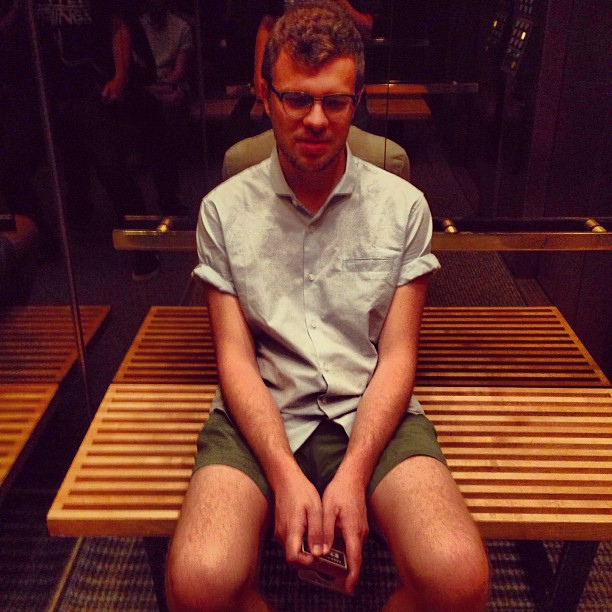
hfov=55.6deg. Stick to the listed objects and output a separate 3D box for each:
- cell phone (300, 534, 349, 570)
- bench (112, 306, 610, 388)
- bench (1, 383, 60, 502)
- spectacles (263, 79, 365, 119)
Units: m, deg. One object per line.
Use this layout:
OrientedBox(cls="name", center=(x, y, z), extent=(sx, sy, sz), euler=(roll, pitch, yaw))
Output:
OrientedBox(cls="cell phone", center=(0.030, 0.411, 0.984), extent=(0.076, 0.020, 0.044), euler=(17, 20, -7))
OrientedBox(cls="bench", center=(0.189, 0.122, 1.809), extent=(1.352, 0.066, 0.475), euler=(1, 31, 0))
OrientedBox(cls="bench", center=(-0.745, 0.314, 1.550), extent=(0.054, 0.201, 0.282), euler=(1, 29, 6))
OrientedBox(cls="spectacles", center=(0.016, -0.402, 1.141), extent=(0.186, 0.059, 0.083), euler=(0, 30, -1))
